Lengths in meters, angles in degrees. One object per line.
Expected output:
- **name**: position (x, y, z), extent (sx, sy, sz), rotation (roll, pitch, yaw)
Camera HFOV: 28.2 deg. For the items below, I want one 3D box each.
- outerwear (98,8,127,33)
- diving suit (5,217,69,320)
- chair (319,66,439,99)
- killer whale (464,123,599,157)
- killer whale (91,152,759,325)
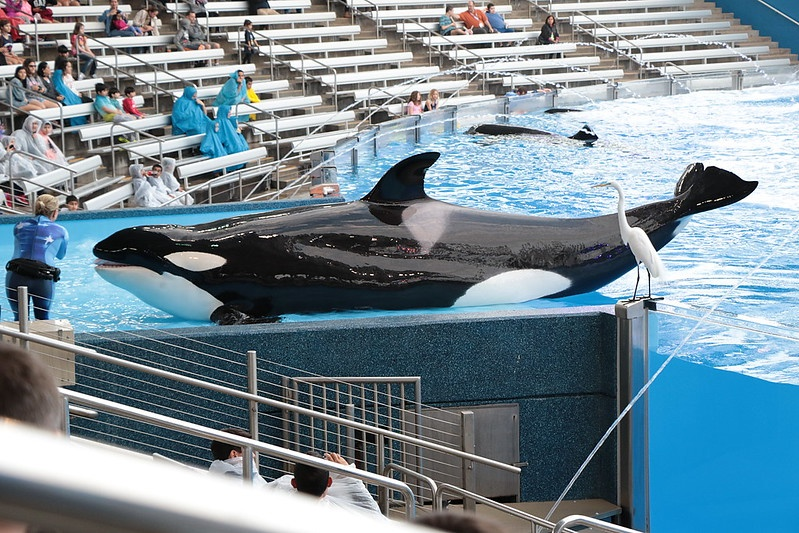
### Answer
- **outerwear**: position (-6.347, -5.574, 35.370), extent (0.471, 0.719, 0.721), rotation (-11, 21, -10)
- **diving suit**: position (-5.525, 0.025, 24.511), extent (1.047, 1.560, 0.828), rotation (6, -5, -16)
- **chair**: position (-0.574, -4.461, 38.667), extent (3.670, 0.566, 0.919), rotation (-8, 21, -23)
- **killer whale**: position (2.951, -2.918, 35.305), extent (2.843, 0.430, 0.794), rotation (2, 19, 16)
- **killer whale**: position (0.305, -0.383, 26.212), extent (17.527, 2.901, 3.866), rotation (0, -1, -7)
